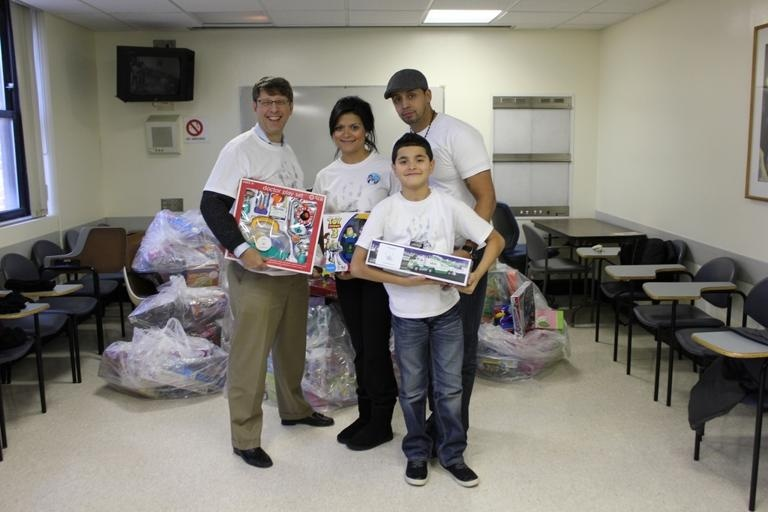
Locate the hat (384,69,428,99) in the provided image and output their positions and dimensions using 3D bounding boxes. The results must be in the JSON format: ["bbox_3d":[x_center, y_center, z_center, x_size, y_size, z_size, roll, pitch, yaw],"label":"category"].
[{"bbox_3d":[0.129,-1.096,3.401,0.238,0.121,0.177,-5,4,-39],"label":"hat"}]

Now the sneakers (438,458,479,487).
[{"bbox_3d":[0.479,1.420,3.568,0.110,0.120,0.293,-10,16,-41],"label":"sneakers"}]

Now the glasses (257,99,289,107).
[{"bbox_3d":[-0.741,-1.014,3.551,0.195,0.039,0.055,-2,14,-13],"label":"glasses"}]

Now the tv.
[{"bbox_3d":[-2.832,-2.201,6.750,1.092,0.772,0.605,0,9,-10],"label":"tv"}]

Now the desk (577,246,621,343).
[{"bbox_3d":[2.373,0.428,5.930,0.401,0.744,0.847,-2,13,3],"label":"desk"}]

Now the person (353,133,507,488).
[{"bbox_3d":[0.261,0.359,3.441,0.866,2.226,0.446,6,14,19],"label":"person"}]

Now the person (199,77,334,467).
[{"bbox_3d":[-0.809,0.107,3.687,0.509,2.599,0.696,12,18,39],"label":"person"}]

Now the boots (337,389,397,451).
[{"bbox_3d":[-0.109,1.196,3.869,0.535,0.368,0.218,0,7,-9],"label":"boots"}]

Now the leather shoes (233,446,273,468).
[{"bbox_3d":[-0.899,1.352,3.736,0.284,0.124,0.118,6,9,26],"label":"leather shoes"}]
